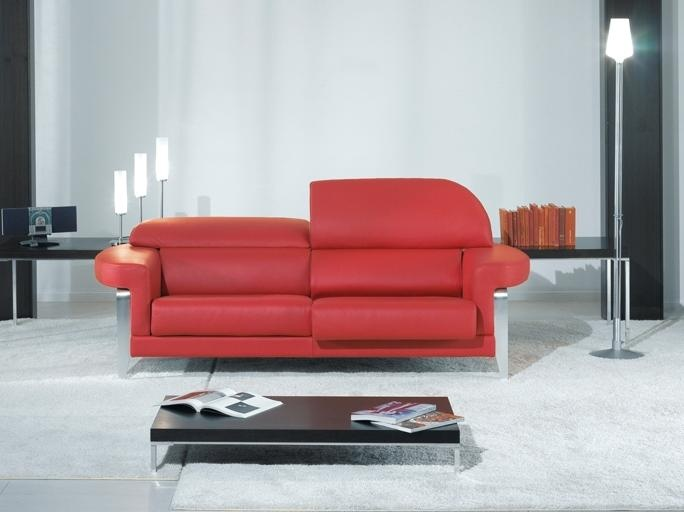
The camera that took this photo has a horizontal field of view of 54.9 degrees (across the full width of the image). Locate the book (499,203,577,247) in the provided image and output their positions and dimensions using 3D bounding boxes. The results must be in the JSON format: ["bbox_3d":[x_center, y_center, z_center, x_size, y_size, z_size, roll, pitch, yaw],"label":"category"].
[{"bbox_3d":[1.440,-0.215,4.800,0.548,0.266,0.342,1,3,1],"label":"book"}]

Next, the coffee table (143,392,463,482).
[{"bbox_3d":[-0.183,0.719,2.746,1.290,0.277,0.384,-3,5,1],"label":"coffee table"}]

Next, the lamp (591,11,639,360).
[{"bbox_3d":[1.908,-0.582,4.642,0.302,2.385,1.238,-2,5,25],"label":"lamp"}]

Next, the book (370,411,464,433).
[{"bbox_3d":[0.301,0.661,2.612,0.342,0.039,0.134,-4,5,-20],"label":"book"}]
